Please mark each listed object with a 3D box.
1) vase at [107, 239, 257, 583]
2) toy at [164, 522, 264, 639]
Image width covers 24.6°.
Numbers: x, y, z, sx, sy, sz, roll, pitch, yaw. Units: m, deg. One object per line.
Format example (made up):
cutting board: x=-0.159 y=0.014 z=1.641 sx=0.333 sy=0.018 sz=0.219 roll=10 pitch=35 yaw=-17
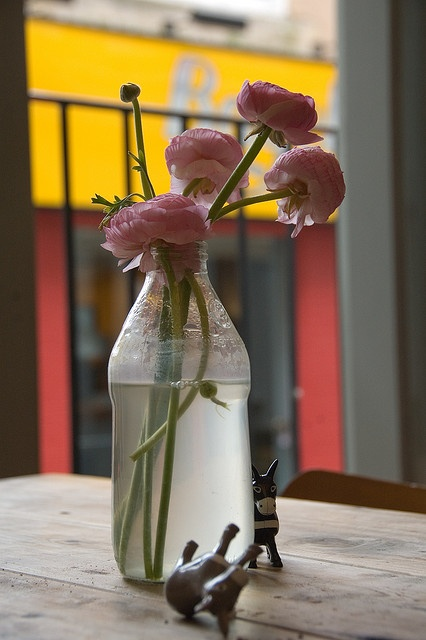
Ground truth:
vase: x=-0.029 y=0.074 z=0.785 sx=0.117 sy=0.265 sz=0.083 roll=-1 pitch=5 yaw=2
toy: x=-0.003 y=0.177 z=0.712 sx=0.066 sy=0.070 sz=0.109 roll=-2 pitch=5 yaw=-4
